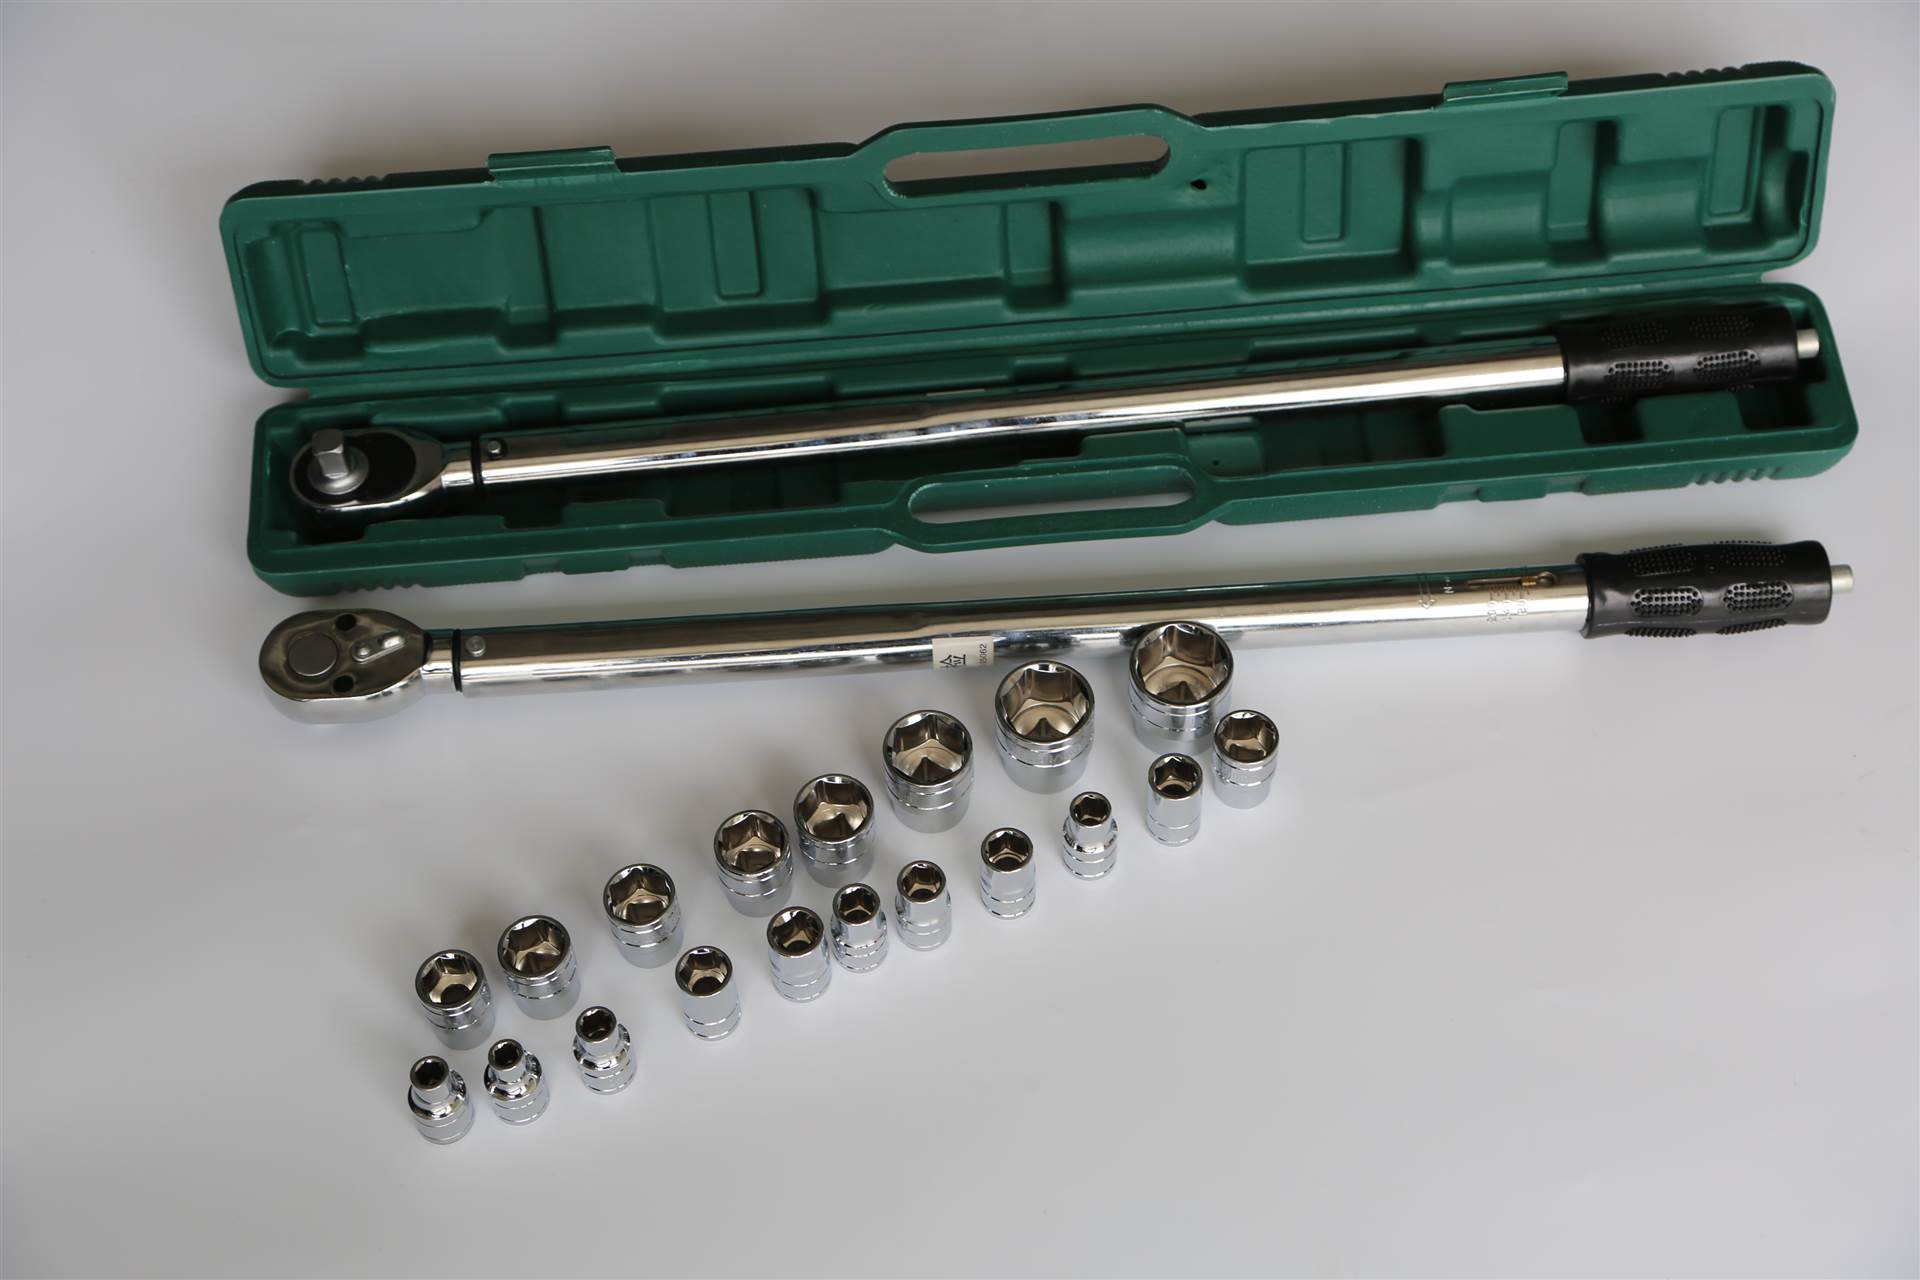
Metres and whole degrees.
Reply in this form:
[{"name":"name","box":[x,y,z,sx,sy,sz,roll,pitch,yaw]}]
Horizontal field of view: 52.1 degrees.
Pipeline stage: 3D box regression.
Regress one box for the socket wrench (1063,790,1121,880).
[{"name":"socket wrench","box":[0.224,0.335,3.424,0.104,0.110,0.116,-2,-53,-1]}]

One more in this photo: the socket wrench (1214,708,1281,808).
[{"name":"socket wrench","box":[0.492,0.198,3.438,0.134,0.160,0.154,1,-38,4]}]

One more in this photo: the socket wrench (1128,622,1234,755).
[{"name":"socket wrench","box":[0.375,0.078,3.550,0.212,0.220,0.190,-7,-30,1]}]

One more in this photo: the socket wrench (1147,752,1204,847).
[{"name":"socket wrench","box":[0.356,0.262,3.466,0.133,0.140,0.150,-3,-52,1]}]

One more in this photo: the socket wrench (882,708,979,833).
[{"name":"socket wrench","box":[-0.027,0.226,3.492,0.194,0.197,0.201,0,-36,2]}]

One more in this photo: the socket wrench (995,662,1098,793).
[{"name":"socket wrench","box":[0.161,0.148,3.517,0.205,0.221,0.185,0,-27,4]}]

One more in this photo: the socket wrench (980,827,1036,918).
[{"name":"socket wrench","box":[0.078,0.398,3.384,0.097,0.151,0.089,-2,-5,0]}]

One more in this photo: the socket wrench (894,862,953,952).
[{"name":"socket wrench","box":[-0.038,0.449,3.406,0.108,0.142,0.136,2,-39,3]}]
